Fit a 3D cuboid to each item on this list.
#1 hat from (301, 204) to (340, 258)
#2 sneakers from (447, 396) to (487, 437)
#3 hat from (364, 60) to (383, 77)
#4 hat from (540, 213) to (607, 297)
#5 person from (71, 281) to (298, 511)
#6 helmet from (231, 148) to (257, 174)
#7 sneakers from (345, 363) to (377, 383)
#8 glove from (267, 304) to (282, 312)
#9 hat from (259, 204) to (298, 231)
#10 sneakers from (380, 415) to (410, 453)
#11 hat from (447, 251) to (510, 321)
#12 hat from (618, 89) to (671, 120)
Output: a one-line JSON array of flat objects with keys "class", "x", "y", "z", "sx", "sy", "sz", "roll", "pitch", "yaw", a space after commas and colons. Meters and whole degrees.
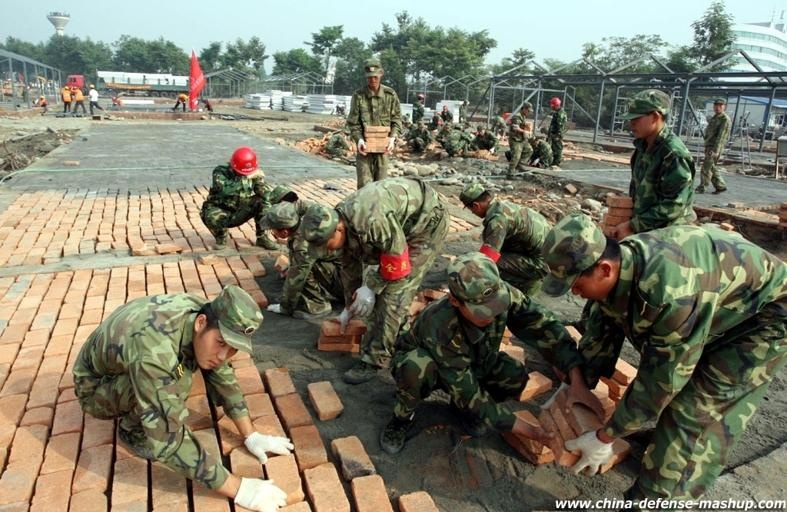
[{"class": "hat", "x": -0.643, "y": -0.276, "z": 3.622, "sx": 0.374, "sy": 0.341, "sz": 0.445, "roll": -3, "pitch": 12, "yaw": 0}, {"class": "sneakers", "x": 0.564, "y": 1.216, "z": 3.381, "sx": 0.264, "sy": 0.091, "sz": 0.188, "roll": 31, "pitch": -10, "yaw": 31}, {"class": "hat", "x": -0.313, "y": -2.835, "z": 6.682, "sx": 0.245, "sy": 0.145, "sz": 0.280, "roll": -1, "pitch": 31, "yaw": -1}, {"class": "hat", "x": 1.041, "y": -0.008, "z": 2.569, "sx": 0.347, "sy": 0.451, "sz": 0.241, "roll": -3, "pitch": 21, "yaw": -20}, {"class": "person", "x": -1.306, "y": 0.802, "z": 2.748, "sx": 1.465, "sy": 1.303, "sz": 0.584, "roll": 13, "pitch": 22, "yaw": 26}, {"class": "helmet", "x": -1.908, "y": -1.203, "z": 5.652, "sx": 0.349, "sy": 0.215, "sz": 0.374, "roll": -14, "pitch": 59, "yaw": -36}, {"class": "sneakers", "x": -0.261, "y": 0.972, "z": 3.744, "sx": 0.147, "sy": 0.095, "sz": 0.267, "roll": 4, "pitch": -1, "yaw": 42}, {"class": "glove", "x": -1.211, "y": 0.520, "z": 4.521, "sx": 0.122, "sy": 0.038, "sz": 0.088, "roll": 4, "pitch": 7, "yaw": 26}, {"class": "hat", "x": -1.009, "y": -0.346, "z": 3.988, "sx": 0.341, "sy": 0.138, "sz": 0.203, "roll": -3, "pitch": 40, "yaw": 2}, {"class": "sneakers", "x": 0.026, "y": 1.275, "z": 3.207, "sx": 0.148, "sy": 0.114, "sz": 0.334, "roll": 10, "pitch": 3, "yaw": 16}, {"class": "hat", "x": 0.560, "y": 0.199, "z": 3.071, "sx": 0.389, "sy": 0.245, "sz": 0.465, "roll": -33, "pitch": 68, "yaw": -9}, {"class": "hat", "x": 2.239, "y": -1.371, "z": 4.035, "sx": 0.435, "sy": 0.182, "sz": 0.273, "roll": 3, "pitch": 24, "yaw": 21}]
